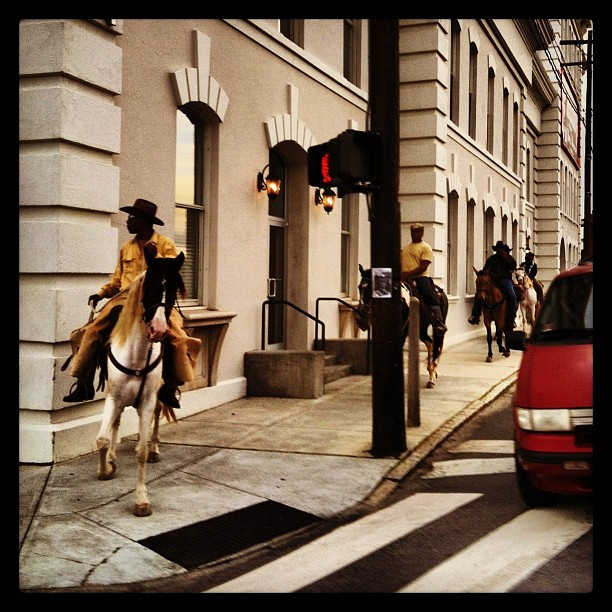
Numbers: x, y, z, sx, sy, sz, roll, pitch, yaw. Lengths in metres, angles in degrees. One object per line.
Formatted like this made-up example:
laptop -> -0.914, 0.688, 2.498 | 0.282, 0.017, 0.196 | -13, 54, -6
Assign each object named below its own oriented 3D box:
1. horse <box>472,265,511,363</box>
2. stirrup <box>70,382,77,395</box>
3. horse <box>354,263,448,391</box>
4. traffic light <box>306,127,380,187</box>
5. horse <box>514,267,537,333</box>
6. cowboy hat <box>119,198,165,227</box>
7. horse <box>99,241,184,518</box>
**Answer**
horse -> 3.860, 0.193, 19.043 | 0.583, 1.747, 2.427 | -3, -3, 22
stirrup -> -2.226, 0.781, 9.017 | 0.026, 0.113, 0.115 | 8, 10, -29
horse -> 1.522, 0.362, 14.471 | 0.652, 1.717, 2.367 | -5, -7, 38
traffic light -> 0.384, -1.459, 9.306 | 0.714, 0.551, 0.387 | 0, 2, 2
horse -> 5.162, -0.120, 22.119 | 0.424, 1.275, 1.692 | -1, -15, 21
cowboy hat -> -1.497, -0.882, 8.779 | 0.244, 0.113, 0.291 | 11, -12, 44
horse -> -1.383, 0.530, 7.900 | 0.669, 2.178, 1.592 | -1, 2, -13
